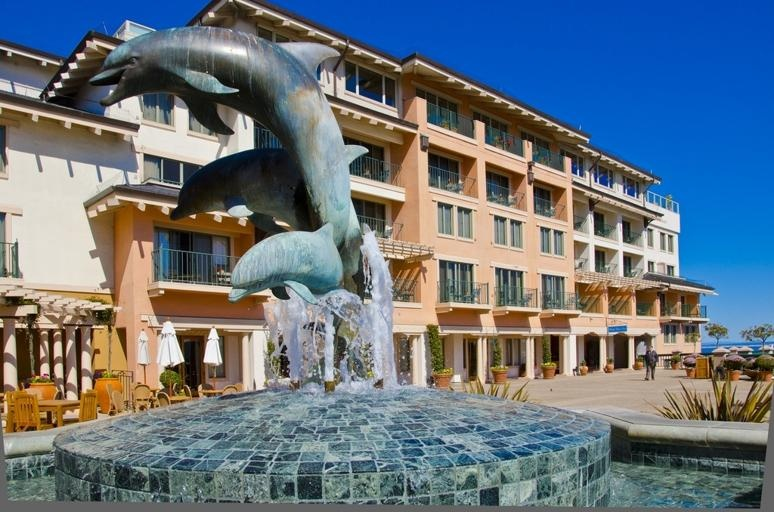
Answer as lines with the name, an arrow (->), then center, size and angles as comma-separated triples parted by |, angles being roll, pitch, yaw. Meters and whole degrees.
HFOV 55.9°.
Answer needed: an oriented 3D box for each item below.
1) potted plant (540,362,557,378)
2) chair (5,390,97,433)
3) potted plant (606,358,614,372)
potted plant -> 8.872, 6.250, 39.742 | 0.791, 0.691, 0.802 | 0, -14, 0
chair -> -8.537, 3.876, 18.370 | 1.679, 1.071, 1.696 | -2, -4, 12
potted plant -> 14.314, 6.989, 46.815 | 0.458, 0.787, 1.772 | 0, -5, 16
